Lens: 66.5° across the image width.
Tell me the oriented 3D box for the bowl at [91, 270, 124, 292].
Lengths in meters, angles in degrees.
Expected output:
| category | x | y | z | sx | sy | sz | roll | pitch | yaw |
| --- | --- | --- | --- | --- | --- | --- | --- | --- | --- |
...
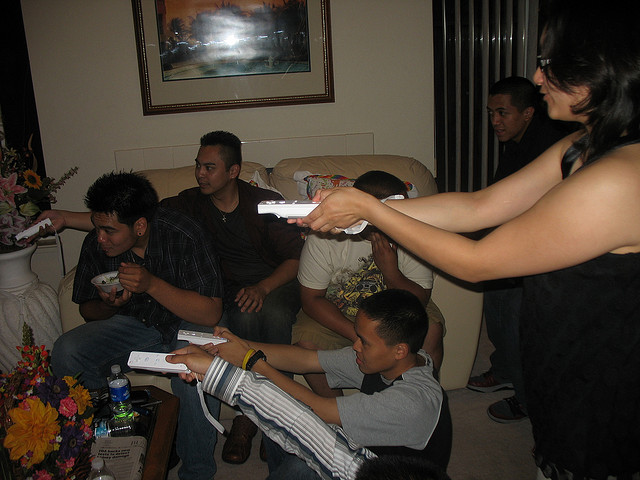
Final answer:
| category | x | y | z | sx | sy | sz | roll | pitch | yaw |
| --- | --- | --- | --- | --- | --- | --- | --- | --- | --- |
| bowl | -0.919 | 0.171 | 2.088 | 0.107 | 0.045 | 0.260 | -13 | 22 | -26 |
